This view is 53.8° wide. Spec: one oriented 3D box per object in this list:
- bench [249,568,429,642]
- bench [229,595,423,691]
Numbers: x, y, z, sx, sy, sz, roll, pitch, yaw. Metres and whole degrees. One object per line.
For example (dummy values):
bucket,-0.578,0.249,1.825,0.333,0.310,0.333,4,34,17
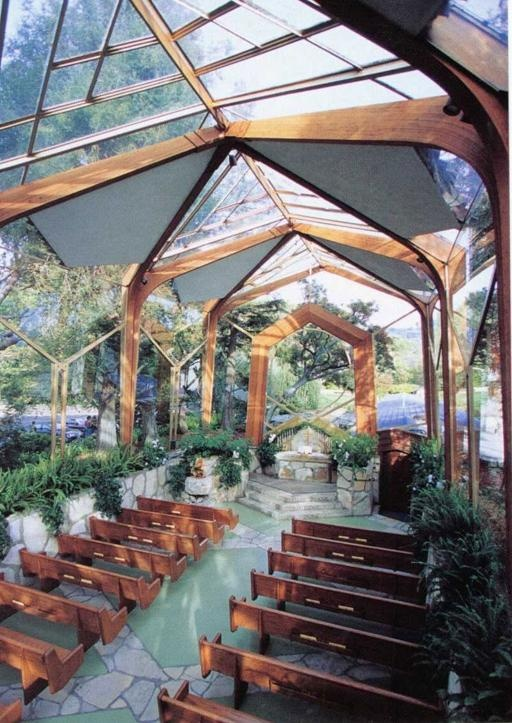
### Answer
bench,0.985,2.828,6.113,2.098,0.475,0.424,4,15,19
bench,0.685,3.031,5.218,2.061,0.505,0.645,13,30,3
